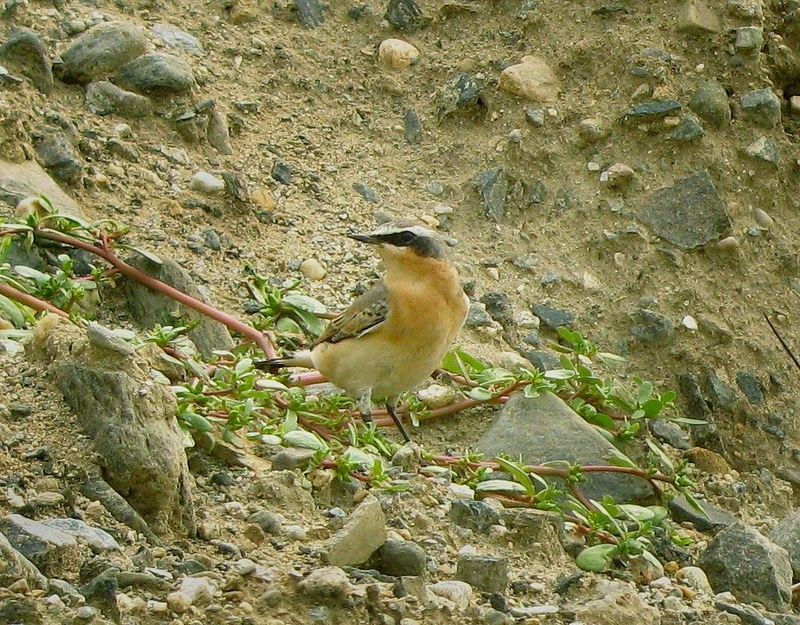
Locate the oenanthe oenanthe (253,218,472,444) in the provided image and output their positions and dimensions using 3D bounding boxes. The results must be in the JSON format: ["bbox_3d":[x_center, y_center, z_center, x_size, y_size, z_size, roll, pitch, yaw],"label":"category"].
[{"bbox_3d":[-0.162,0.052,10.277,1.419,1.575,0.894,5,8,28],"label":"oenanthe oenanthe"}]
